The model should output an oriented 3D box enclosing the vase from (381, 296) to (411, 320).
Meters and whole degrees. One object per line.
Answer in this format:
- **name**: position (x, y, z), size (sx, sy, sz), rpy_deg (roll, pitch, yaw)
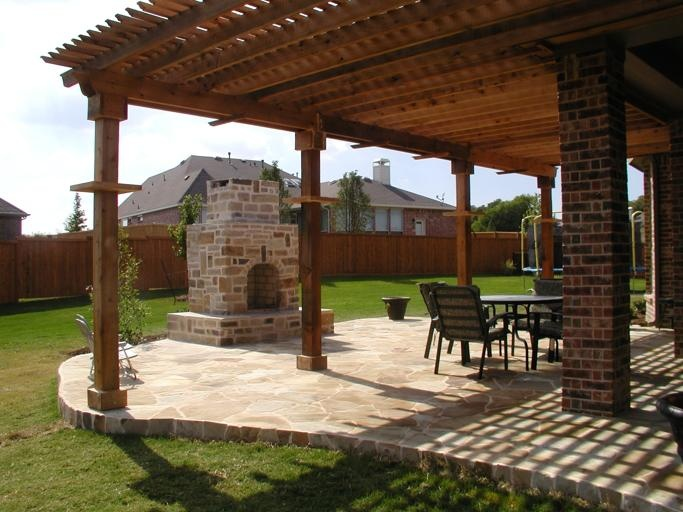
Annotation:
- **vase**: position (1.249, 1.167, 12.629), size (0.531, 0.411, 0.571), rpy_deg (-2, -1, 33)
